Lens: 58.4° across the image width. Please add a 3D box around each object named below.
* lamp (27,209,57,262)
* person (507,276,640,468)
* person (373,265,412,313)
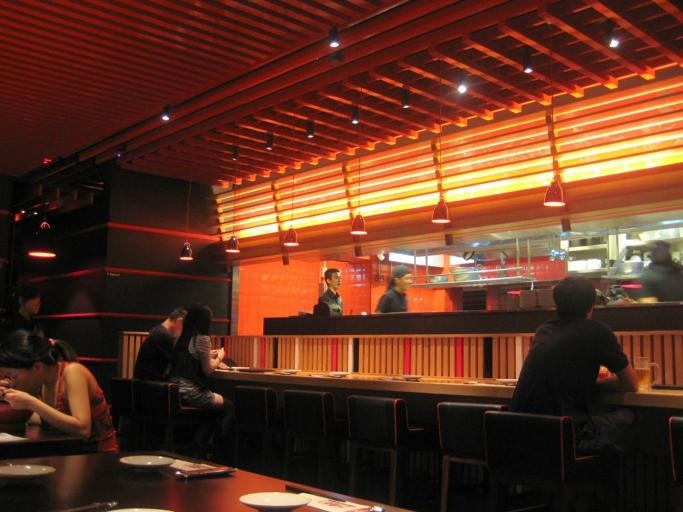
[{"bbox_3d":[-5.346,-0.276,10.933,0.325,0.746,0.819,7,-13,-38],"label":"lamp"},{"bbox_3d":[1.412,0.653,3.885,0.836,0.954,0.791,13,-7,-42],"label":"person"},{"bbox_3d":[0.754,0.453,8.484,0.633,0.689,0.392,6,-13,-38],"label":"person"}]
